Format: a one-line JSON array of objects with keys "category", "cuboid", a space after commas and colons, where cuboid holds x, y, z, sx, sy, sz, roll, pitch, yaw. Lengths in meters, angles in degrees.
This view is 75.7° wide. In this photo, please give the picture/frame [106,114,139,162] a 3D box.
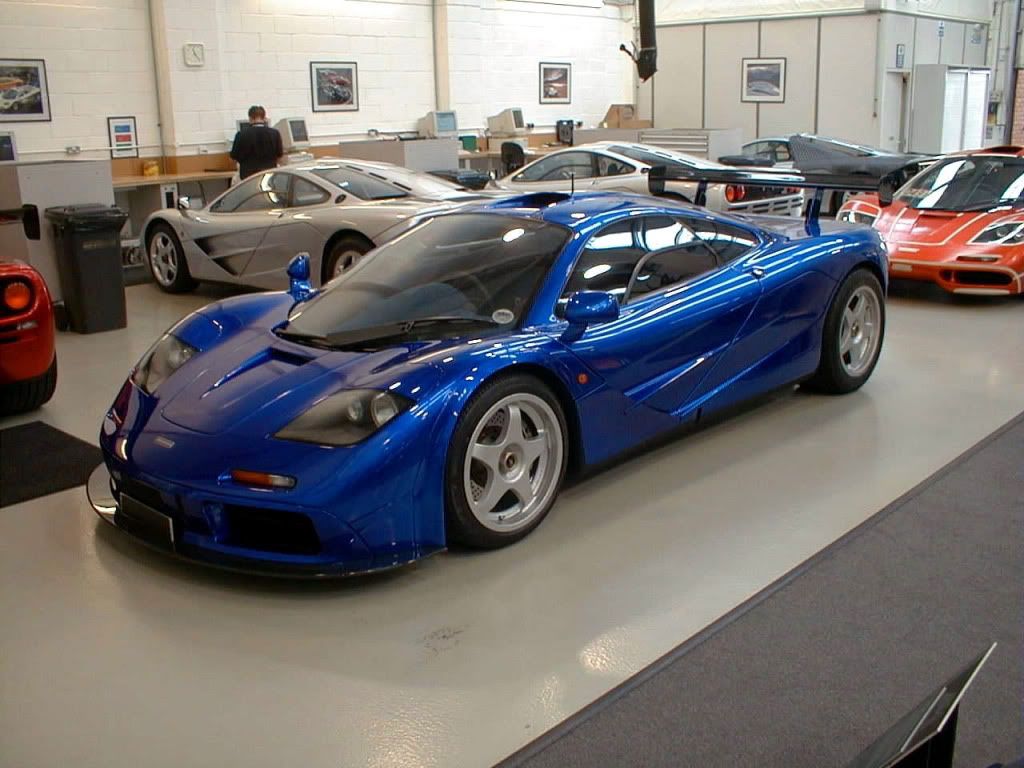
[{"category": "picture/frame", "cuboid": [-6.315, -4.035, 10.702, 0.098, 0.639, 0.479, 12, 23, 36]}]

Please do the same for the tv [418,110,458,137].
[{"category": "tv", "cuboid": [-1.570, -5.509, 13.958, 0.674, 0.473, 0.672, -15, 19, -40]}]

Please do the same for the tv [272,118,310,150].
[{"category": "tv", "cuboid": [-4.052, -4.656, 12.306, 0.629, 0.532, 0.632, -10, 15, -34]}]

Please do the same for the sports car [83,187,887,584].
[{"category": "sports car", "cuboid": [0.117, -0.200, 3.487, 3.693, 1.000, 1.952, -14, 19, -36]}]

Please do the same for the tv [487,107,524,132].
[{"category": "tv", "cuboid": [-0.166, -6.018, 15.120, 0.706, 0.486, 0.670, 3, 14, 15]}]
